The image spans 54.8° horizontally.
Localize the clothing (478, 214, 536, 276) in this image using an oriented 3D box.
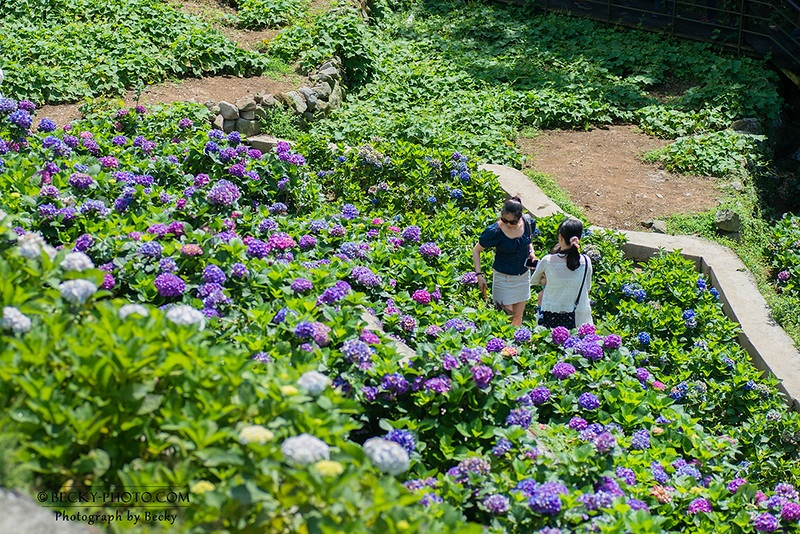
[{"bbox_3d":[1.141,-0.213,7.824,0.629,0.580,0.305,-12,23,-16],"label":"clothing"}]
